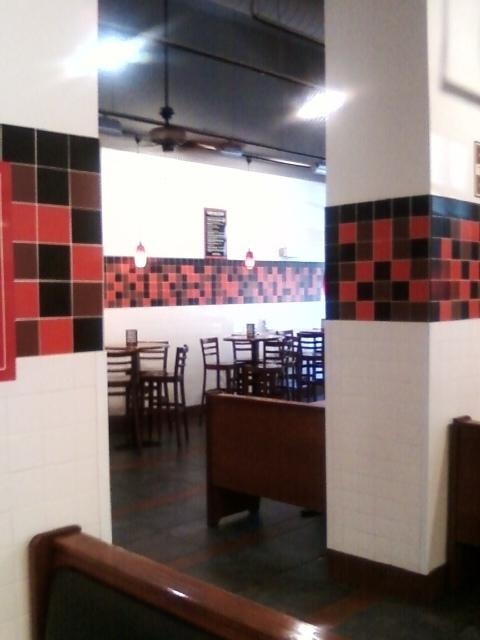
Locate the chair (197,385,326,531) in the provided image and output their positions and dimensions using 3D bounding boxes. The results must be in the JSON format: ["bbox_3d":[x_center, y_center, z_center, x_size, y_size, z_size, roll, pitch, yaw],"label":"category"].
[{"bbox_3d":[0.118,0.869,3.419,0.271,0.837,0.982,-2,1,-31],"label":"chair"}]

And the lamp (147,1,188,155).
[{"bbox_3d":[-0.678,-2.059,5.523,0.336,0.858,2.128,-2,1,-8],"label":"lamp"}]
